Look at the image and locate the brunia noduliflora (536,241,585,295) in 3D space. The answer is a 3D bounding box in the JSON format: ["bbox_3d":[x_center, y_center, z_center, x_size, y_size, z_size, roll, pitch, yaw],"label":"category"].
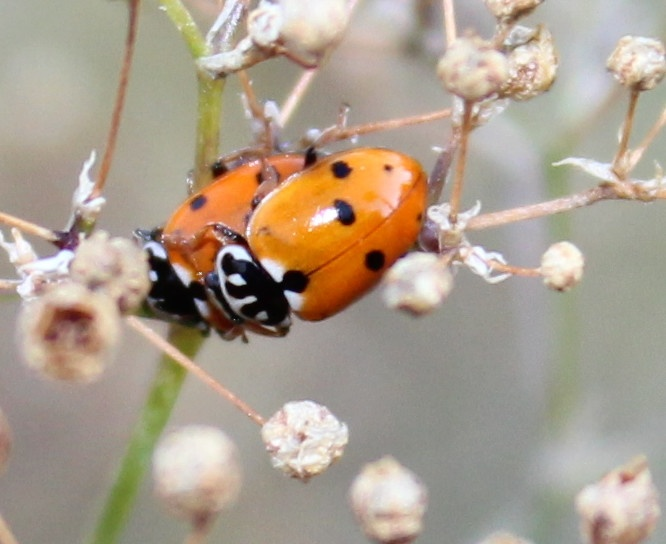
[{"bbox_3d":[0.214,-0.004,0.754,0.036,0.050,0.084,1,6,24],"label":"brunia noduliflora"}]

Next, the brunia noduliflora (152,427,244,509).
[{"bbox_3d":[-0.139,0.202,0.846,0.088,0.084,0.042,-2,6,-11],"label":"brunia noduliflora"}]
